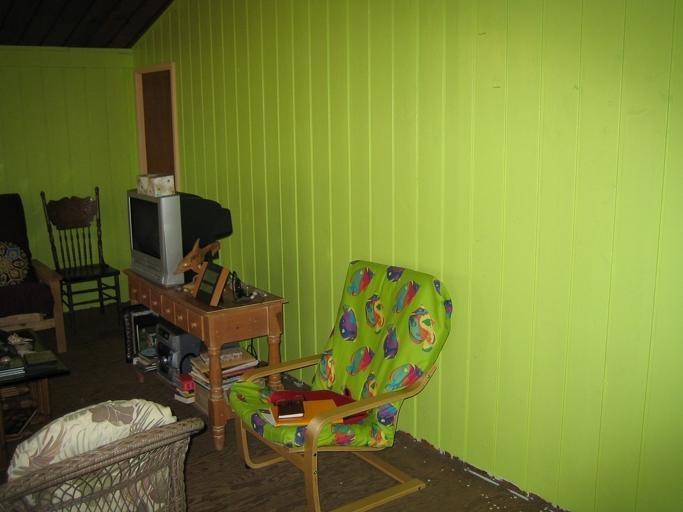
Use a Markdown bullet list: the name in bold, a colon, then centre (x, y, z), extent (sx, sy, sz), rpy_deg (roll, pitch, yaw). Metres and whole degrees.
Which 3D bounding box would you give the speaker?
- **speaker**: centre (-1.080, 0.627, 4.122), extent (0.457, 0.356, 0.459), rpy_deg (-2, 9, -31)

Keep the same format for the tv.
- **tv**: centre (-1.238, -0.210, 4.082), extent (0.702, 0.631, 0.672), rpy_deg (-10, 15, -38)

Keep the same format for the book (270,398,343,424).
- **book**: centre (-0.175, 0.799, 2.832), extent (0.344, 0.082, 0.213), rpy_deg (-6, 15, -20)

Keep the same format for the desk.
- **desk**: centre (-0.817, 0.615, 3.440), extent (0.337, 0.610, 0.965), rpy_deg (-6, 12, -36)
